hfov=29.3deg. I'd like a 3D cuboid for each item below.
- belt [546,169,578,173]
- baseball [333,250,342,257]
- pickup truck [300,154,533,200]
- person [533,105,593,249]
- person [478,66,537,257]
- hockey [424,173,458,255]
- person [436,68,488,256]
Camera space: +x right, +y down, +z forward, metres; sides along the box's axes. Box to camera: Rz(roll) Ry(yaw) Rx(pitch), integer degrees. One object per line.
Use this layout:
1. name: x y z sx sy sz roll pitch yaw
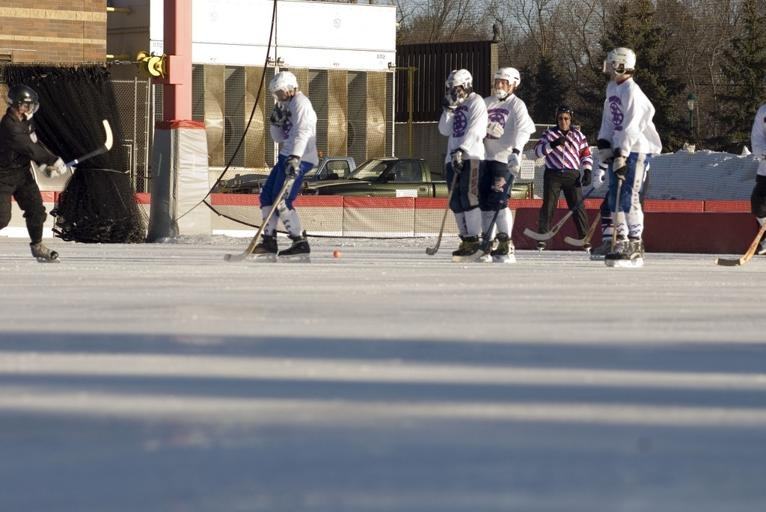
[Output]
1. belt: 2.300 -1.107 18.774 0.356 0.070 0.074 0 14 -1
2. baseball: -0.515 -0.042 16.863 0.081 0.076 0.090 -11 -19 -6
3. pickup truck: -0.034 -1.385 26.777 2.217 0.748 1.030 1 0 -15
4. person: 2.306 -1.031 18.783 0.676 1.750 0.688 1 2 6
5. person: 1.346 -1.036 16.627 0.670 2.061 0.684 0 0 -7
6. hockey: 0.719 -0.505 17.336 0.344 0.939 0.332 -1 1 -40
7. person: 0.910 -1.039 16.580 0.586 2.015 0.852 0 -1 -1
